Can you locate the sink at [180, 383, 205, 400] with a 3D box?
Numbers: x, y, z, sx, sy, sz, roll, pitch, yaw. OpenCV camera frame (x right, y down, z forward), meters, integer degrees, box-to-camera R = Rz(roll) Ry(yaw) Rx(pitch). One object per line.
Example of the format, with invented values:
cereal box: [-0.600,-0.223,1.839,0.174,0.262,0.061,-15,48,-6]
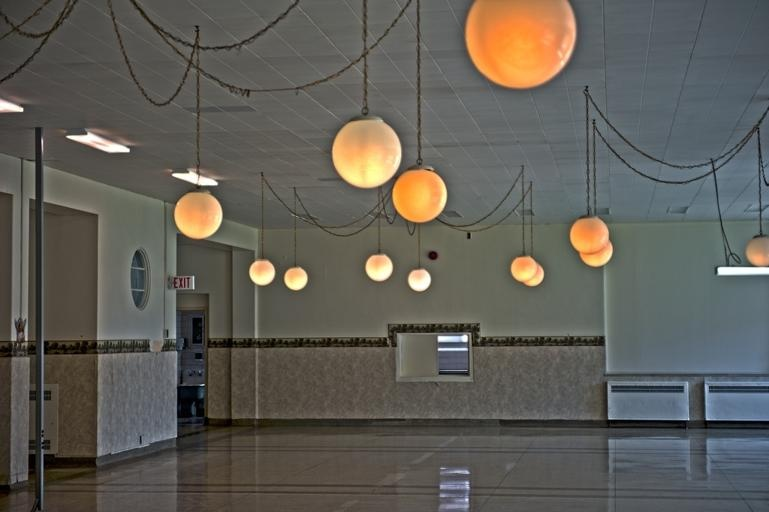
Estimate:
sink: [-4.925,3.476,18.281,0.684,0.414,0.127,-1,-1,8]
